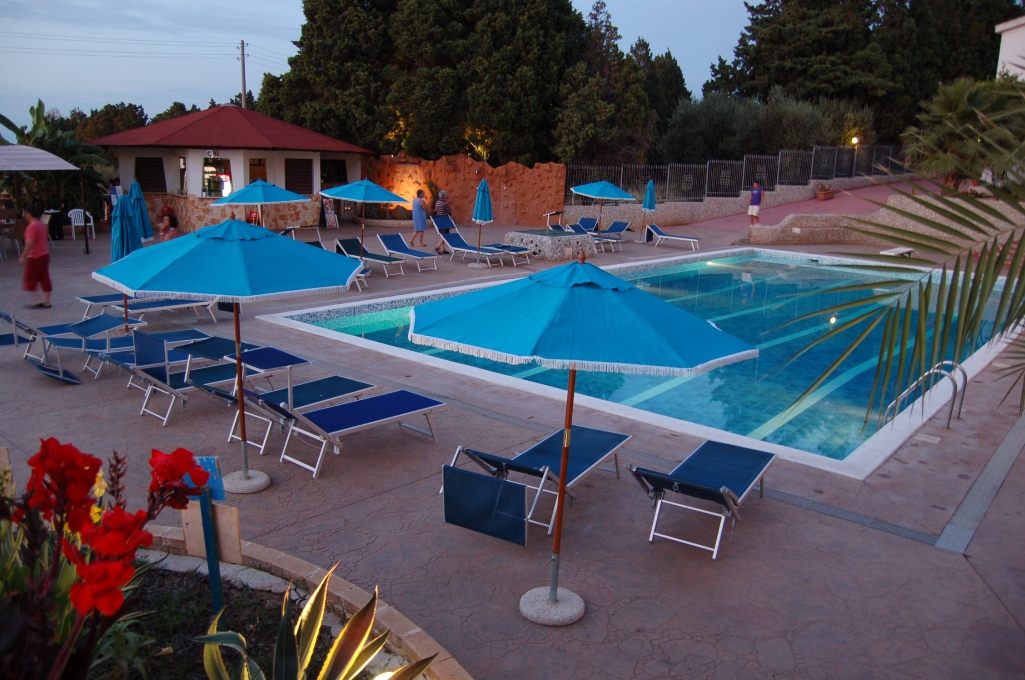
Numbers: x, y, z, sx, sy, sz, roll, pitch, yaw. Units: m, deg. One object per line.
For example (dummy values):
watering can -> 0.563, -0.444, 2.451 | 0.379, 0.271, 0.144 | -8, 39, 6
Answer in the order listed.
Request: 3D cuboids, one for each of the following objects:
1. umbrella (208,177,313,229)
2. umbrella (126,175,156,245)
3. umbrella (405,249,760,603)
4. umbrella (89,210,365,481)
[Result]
umbrella -> -5.643, -2.991, 15.355 | 1.490, 1.070, 1.542 | -10, -7, 18
umbrella -> -7.334, -2.531, 13.591 | 0.448, 1.077, 0.449 | 11, 18, 27
umbrella -> 0.670, 0.696, 6.479 | 2.695, 2.638, 2.817 | 7, 15, 16
umbrella -> -2.828, 0.019, 7.997 | 2.674, 2.651, 2.727 | 1, 22, -8
